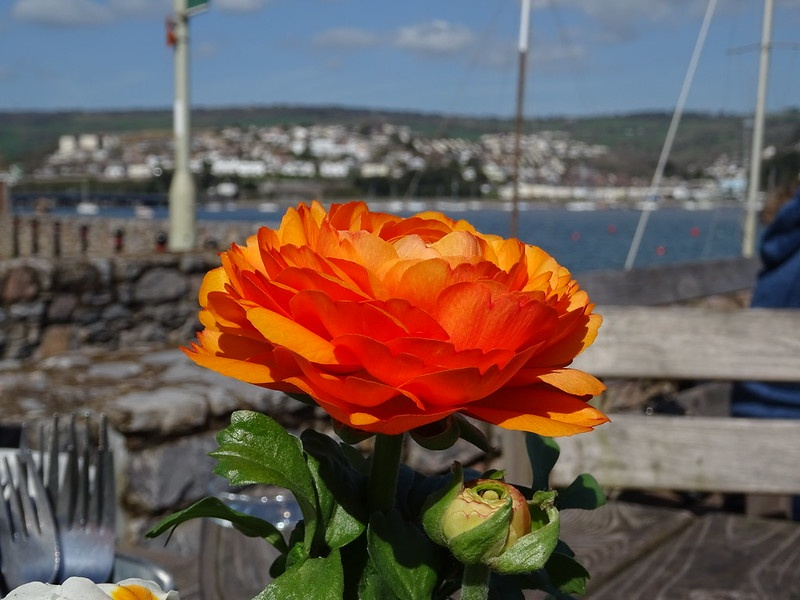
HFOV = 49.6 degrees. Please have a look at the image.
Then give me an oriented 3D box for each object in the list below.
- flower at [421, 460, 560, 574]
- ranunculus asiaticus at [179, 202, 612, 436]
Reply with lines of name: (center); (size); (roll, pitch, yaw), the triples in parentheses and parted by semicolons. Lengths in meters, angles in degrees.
flower: (0.112, 0.242, 0.983); (0.161, 0.072, 0.125); (21, 22, 31)
ranunculus asiaticus: (0.018, 0.023, 0.977); (0.385, 0.172, 0.360); (14, 6, 29)
